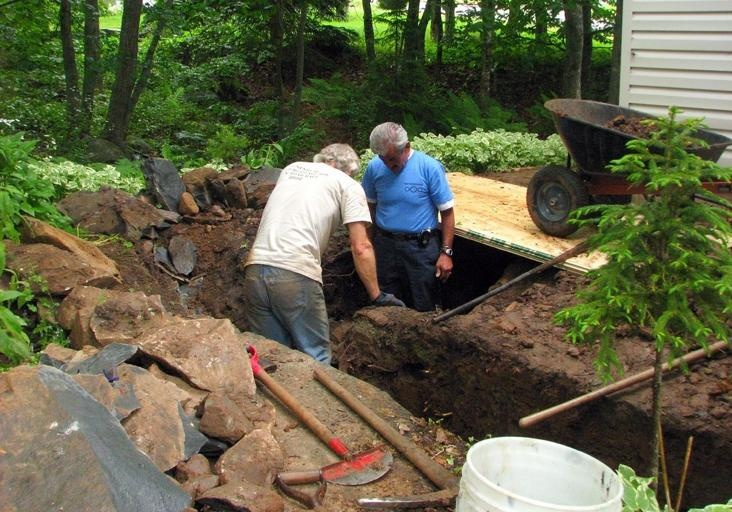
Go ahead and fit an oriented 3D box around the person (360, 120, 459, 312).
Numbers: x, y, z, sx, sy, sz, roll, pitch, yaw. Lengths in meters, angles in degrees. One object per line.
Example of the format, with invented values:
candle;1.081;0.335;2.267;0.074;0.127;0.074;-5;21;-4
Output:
person;0.430;-0.133;6.725;1.249;2.805;0.904;6;24;20

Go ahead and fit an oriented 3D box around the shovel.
shovel;-0.367;1.113;4.354;0.644;0.141;1.270;-6;30;-38

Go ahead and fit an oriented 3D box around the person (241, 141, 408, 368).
person;-0.594;0.095;5.727;1.340;2.011;0.574;-3;16;-13

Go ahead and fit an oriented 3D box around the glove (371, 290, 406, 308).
glove;0.231;0.474;6.047;0.315;0.117;0.155;2;31;13

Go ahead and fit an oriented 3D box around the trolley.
trolley;2.445;-0.845;5.592;1.366;1.419;1.375;-1;15;-5
